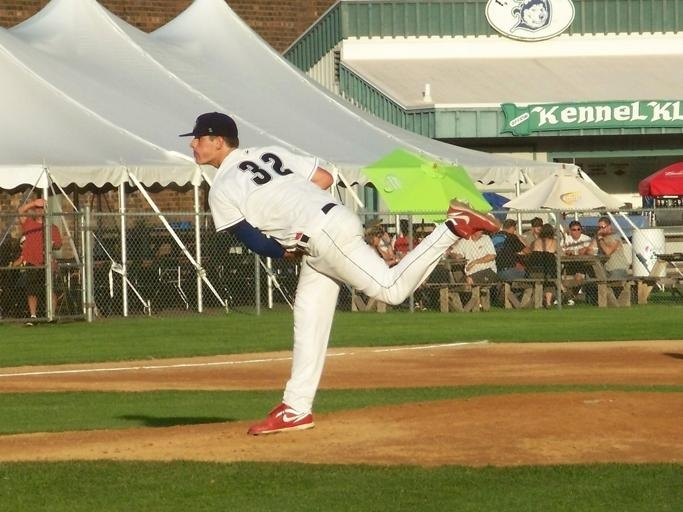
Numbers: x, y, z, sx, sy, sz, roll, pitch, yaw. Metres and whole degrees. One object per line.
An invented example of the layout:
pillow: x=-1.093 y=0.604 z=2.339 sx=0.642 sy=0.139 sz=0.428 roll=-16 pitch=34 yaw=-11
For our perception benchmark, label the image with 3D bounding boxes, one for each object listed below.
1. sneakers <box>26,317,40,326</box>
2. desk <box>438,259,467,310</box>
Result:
sneakers: x=-6.513 y=1.347 z=35.236 sx=0.279 sy=0.209 sz=0.432 roll=0 pitch=-2 yaw=-12
desk: x=2.499 y=0.636 z=37.012 sx=0.600 sy=1.149 sz=0.349 roll=-8 pitch=-19 yaw=29
